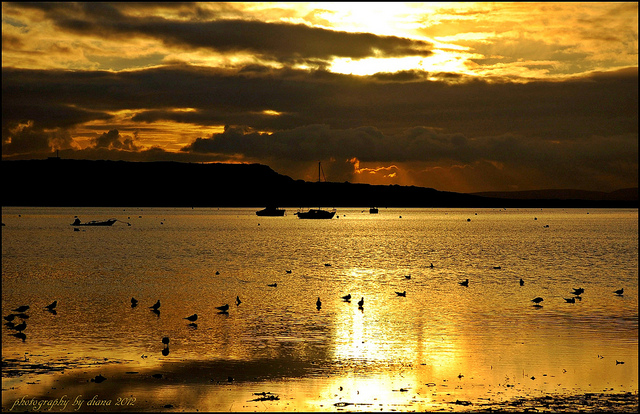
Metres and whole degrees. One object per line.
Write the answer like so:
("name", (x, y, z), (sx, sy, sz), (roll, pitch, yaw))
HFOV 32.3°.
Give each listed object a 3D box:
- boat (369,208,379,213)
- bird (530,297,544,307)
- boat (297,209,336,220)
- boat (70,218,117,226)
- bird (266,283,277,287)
("boat", (18.393, 1.237, 390.974), (2.407, 1.370, 1.697), (6, 7, 44))
("bird", (21.488, 9.203, 109.941), (1.035, 0.537, 0.473), (12, 4, 27))
("boat", (-1.818, 2.243, 317.743), (7.261, 3.223, 10.916), (-6, 10, -42))
("boat", (-53.168, 3.230, 255.929), (8.644, 1.180, 1.872), (-1, 4, -31))
("bird", (-5.212, 8.252, 117.944), (0.961, 0.204, 1.261), (-1, 7, -9))
